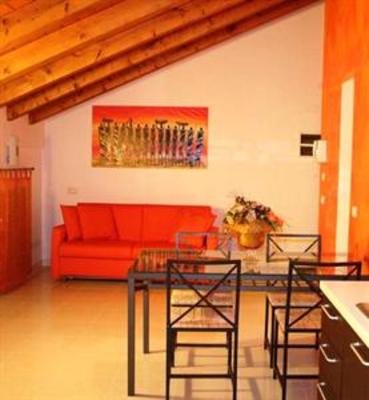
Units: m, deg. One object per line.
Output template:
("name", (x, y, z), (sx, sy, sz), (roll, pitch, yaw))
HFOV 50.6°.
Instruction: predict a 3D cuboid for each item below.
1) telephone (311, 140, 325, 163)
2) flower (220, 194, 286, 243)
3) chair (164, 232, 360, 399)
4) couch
("telephone", (1.476, -0.529, 4.298), (0.123, 0.245, 0.176), (1, 3, -4))
("flower", (0.504, 0.197, 3.020), (0.407, 0.462, 0.441), (-1, 14, 12))
("chair", (0.468, 0.758, 2.606), (1.177, 0.940, 0.930), (1, 3, -3))
("couch", (-0.623, 0.590, 5.229), (2.047, 1.111, 0.876), (2, -3, 3))
